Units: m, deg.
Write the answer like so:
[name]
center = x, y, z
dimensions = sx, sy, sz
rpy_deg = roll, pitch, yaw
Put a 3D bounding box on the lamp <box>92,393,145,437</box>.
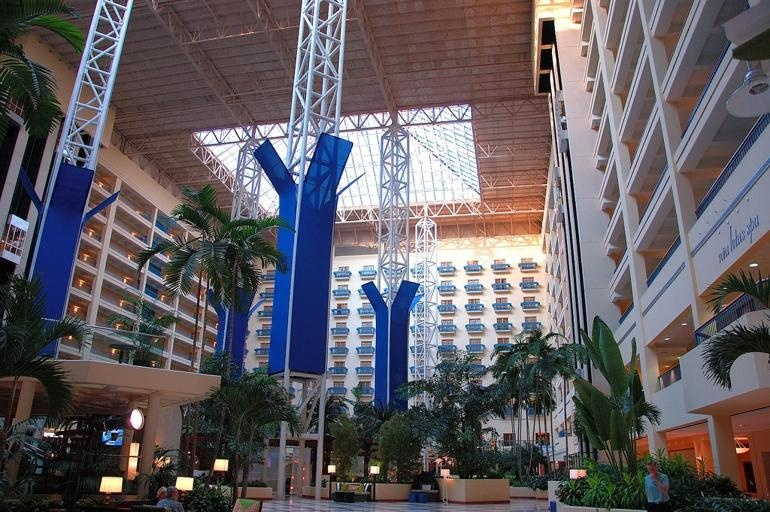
[lamp]
center = -8.953, 5.564, 17.592
dimensions = 1.742, 0.651, 0.663
rpy_deg = -12, -20, 12
